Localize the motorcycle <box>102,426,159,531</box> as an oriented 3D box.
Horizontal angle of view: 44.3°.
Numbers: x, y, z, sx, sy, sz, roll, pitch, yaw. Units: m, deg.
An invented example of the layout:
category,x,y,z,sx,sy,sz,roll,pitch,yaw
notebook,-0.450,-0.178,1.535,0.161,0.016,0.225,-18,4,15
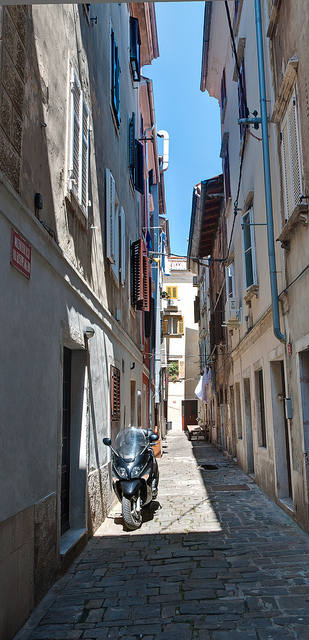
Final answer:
category,x,y,z,sx,sy,sz,roll,pitch,yaw
motorcycle,-0.284,2.424,6.195,0.404,1.486,1.695,-3,-5,8
